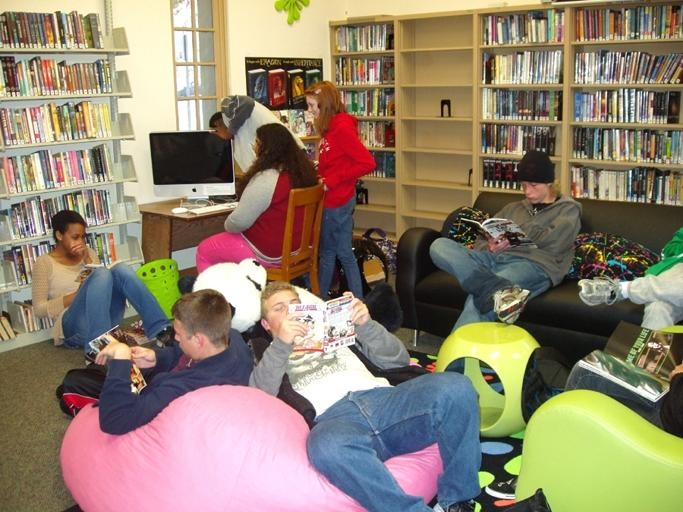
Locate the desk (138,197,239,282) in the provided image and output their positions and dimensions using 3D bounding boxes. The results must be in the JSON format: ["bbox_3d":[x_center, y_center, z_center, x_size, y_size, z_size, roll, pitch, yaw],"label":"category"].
[{"bbox_3d":[-1.467,-0.229,4.539,0.294,0.437,0.625,-1,18,9],"label":"desk"}]

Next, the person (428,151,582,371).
[{"bbox_3d":[1.125,0.007,3.560,1.221,1.537,0.791,0,7,-35],"label":"person"}]

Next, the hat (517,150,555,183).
[{"bbox_3d":[1.421,-0.654,3.644,0.266,0.235,0.292,7,20,29],"label":"hat"}]

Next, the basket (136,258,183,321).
[{"bbox_3d":[-1.289,0.178,3.561,0.271,0.317,0.274,8,-6,-30],"label":"basket"}]

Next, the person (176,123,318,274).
[{"bbox_3d":[-0.642,-0.227,3.740,0.980,1.428,0.677,5,6,14],"label":"person"}]

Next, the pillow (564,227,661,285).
[{"bbox_3d":[1.733,0.007,3.265,0.315,0.127,0.415,-41,37,-23],"label":"pillow"}]

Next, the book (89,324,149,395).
[{"bbox_3d":[-1.057,0.447,2.421,0.360,0.375,0.100,28,22,36],"label":"book"}]

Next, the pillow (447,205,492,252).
[{"bbox_3d":[0.935,-0.202,3.805,0.293,0.279,0.331,16,11,35],"label":"pillow"}]

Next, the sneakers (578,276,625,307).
[{"bbox_3d":[1.469,0.201,2.899,0.234,0.149,0.103,-5,14,2],"label":"sneakers"}]

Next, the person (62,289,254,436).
[{"bbox_3d":[-0.787,0.445,2.146,0.788,0.551,0.570,5,17,-7],"label":"person"}]

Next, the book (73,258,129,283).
[{"bbox_3d":[-1.754,0.092,3.542,0.317,0.103,0.239,5,10,31],"label":"book"}]

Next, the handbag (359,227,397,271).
[{"bbox_3d":[0.342,-0.058,4.935,0.434,0.466,0.317,-6,0,19],"label":"handbag"}]
